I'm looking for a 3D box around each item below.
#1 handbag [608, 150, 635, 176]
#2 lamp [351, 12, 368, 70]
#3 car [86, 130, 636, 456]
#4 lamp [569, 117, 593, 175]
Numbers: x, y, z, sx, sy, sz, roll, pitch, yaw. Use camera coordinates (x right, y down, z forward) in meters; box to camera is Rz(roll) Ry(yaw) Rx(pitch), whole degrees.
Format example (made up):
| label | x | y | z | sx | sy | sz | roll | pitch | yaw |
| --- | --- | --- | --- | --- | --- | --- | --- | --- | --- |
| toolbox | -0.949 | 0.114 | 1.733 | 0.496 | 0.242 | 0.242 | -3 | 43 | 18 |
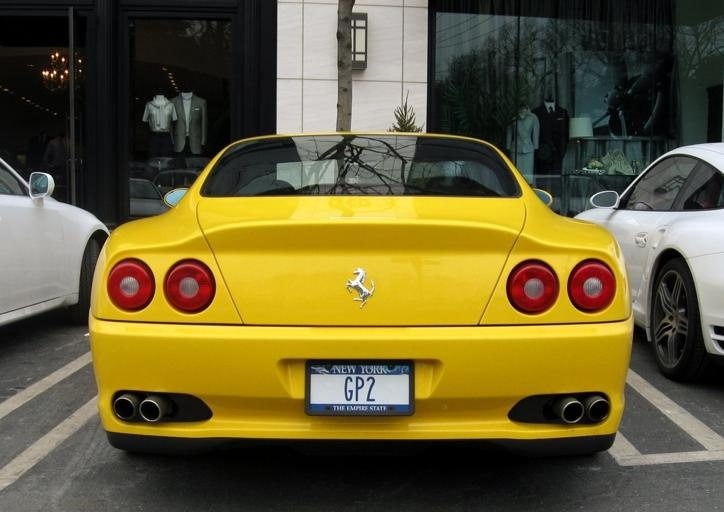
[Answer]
| label | x | y | z | sx | sy | sz | roll | pitch | yaw |
| --- | --- | --- | --- | --- | --- | --- | --- | --- | --- |
| handbag | 4.772 | -1.698 | 12.750 | 0.307 | 0.523 | 0.173 | -14 | 5 | 16 |
| lamp | -0.035 | -3.732 | 11.986 | 0.260 | 0.984 | 0.207 | -1 | 10 | -3 |
| car | 0.001 | 0.248 | 3.659 | 2.589 | 1.318 | 1.004 | 0 | 10 | 0 |
| lamp | 4.032 | -2.117 | 12.771 | 0.428 | 0.812 | 0.445 | 2 | -2 | -5 |
